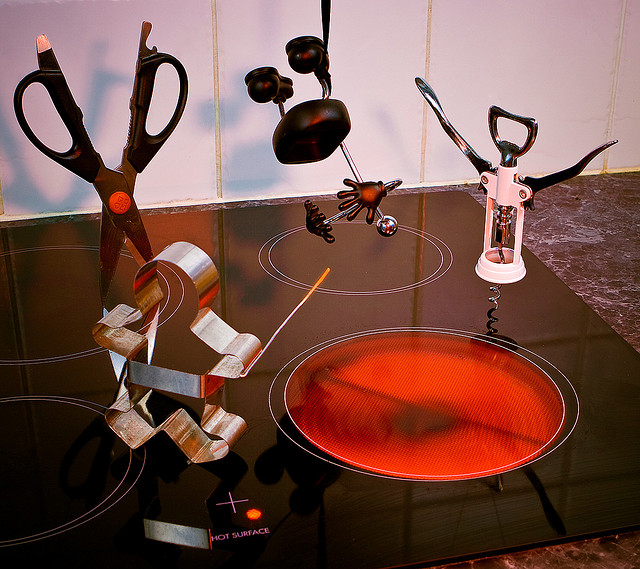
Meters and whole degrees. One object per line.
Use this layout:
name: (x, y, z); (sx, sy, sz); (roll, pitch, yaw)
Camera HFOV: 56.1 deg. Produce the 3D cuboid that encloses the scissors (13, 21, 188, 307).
scissors: (-0.257, -0.134, 0.752); (0.200, 0.356, 0.034); (-22, 44, -33)
